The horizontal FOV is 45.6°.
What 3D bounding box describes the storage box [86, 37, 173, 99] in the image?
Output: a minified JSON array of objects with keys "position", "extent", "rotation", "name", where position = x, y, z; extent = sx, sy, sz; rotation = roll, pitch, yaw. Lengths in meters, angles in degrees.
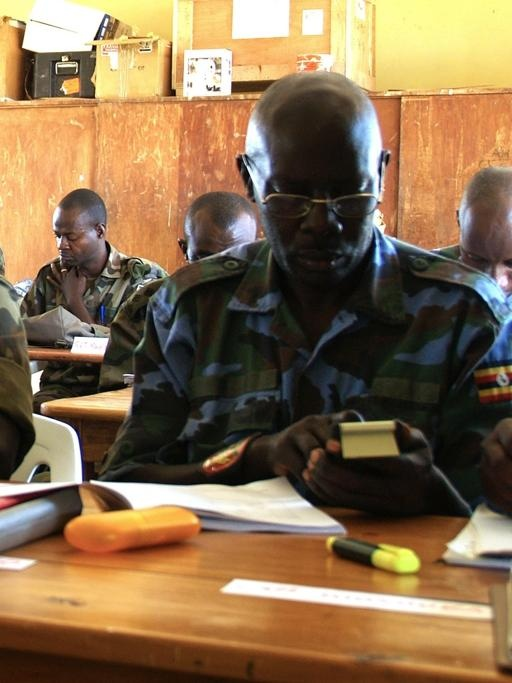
[{"position":[-0.784,-2.057,4.696],"extent":[0.789,0.411,0.707],"rotation":[8,18,12],"name":"storage box"}]
